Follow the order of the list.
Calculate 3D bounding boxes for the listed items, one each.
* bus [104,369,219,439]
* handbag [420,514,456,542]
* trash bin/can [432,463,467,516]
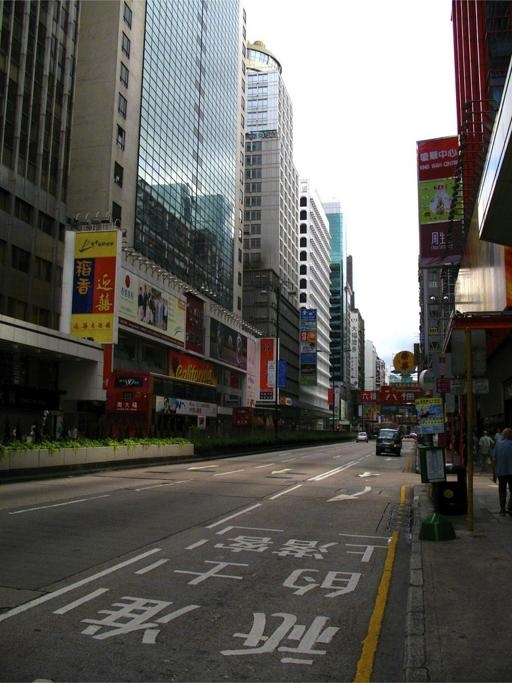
[{"bbox_3d":[-6.236,4.847,44.869,2.287,4.502,11.248,-2,-8,20],"label":"bus"},{"bbox_3d":[2.788,2.889,9.241,0.549,0.361,0.512,-4,-9,25],"label":"handbag"},{"bbox_3d":[3.817,2.966,11.810,0.725,0.978,0.819,-1,-4,18],"label":"trash bin/can"}]
